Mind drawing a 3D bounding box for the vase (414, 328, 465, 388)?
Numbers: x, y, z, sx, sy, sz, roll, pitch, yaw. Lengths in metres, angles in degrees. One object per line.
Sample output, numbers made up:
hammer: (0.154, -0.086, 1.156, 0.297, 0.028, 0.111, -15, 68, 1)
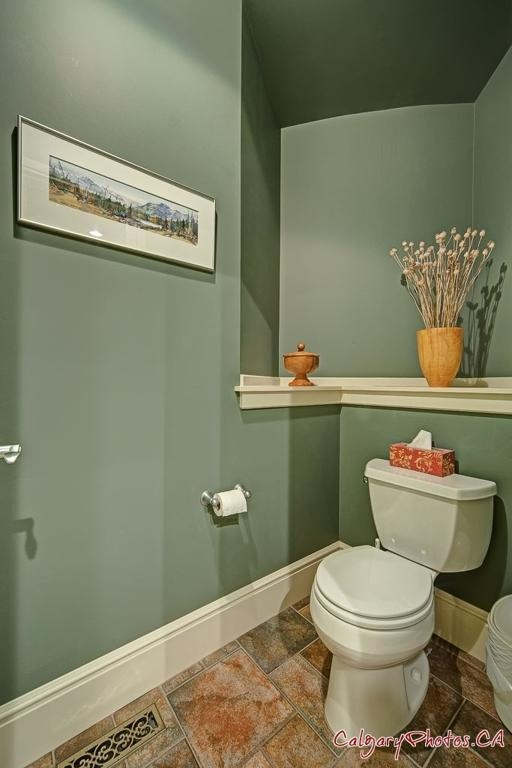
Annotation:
vase: (0.692, -0.103, 1.926, 0.142, 0.219, 0.163, 1, 2, 13)

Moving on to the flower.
flower: (0.718, -0.420, 2.032, 0.359, 0.527, 0.411, -5, 10, -9)

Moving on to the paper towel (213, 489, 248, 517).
paper towel: (-0.082, 0.391, 1.711, 0.119, 0.064, 0.081, -11, 19, -35)

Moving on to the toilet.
toilet: (0.436, 0.653, 1.634, 0.564, 0.722, 0.368, -10, 16, -36)
